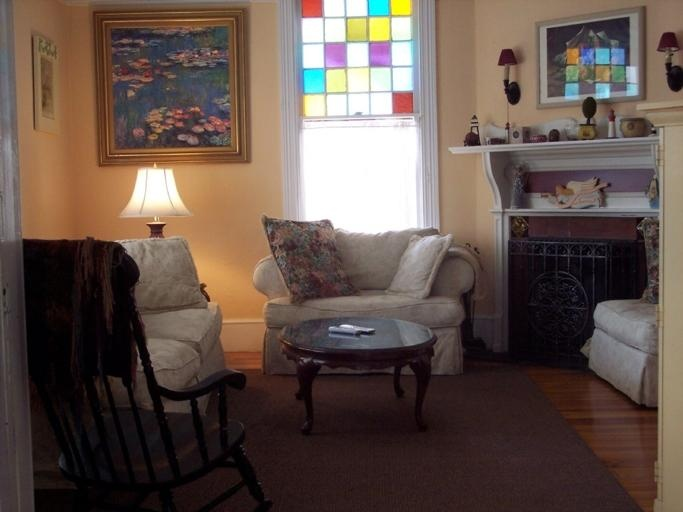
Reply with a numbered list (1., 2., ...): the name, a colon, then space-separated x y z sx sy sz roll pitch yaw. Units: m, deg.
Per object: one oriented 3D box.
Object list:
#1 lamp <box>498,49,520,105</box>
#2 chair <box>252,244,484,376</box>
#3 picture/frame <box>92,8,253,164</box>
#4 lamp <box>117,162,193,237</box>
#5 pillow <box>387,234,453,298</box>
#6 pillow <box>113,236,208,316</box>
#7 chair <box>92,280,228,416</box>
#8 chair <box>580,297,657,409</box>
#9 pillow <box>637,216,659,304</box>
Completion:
1. lamp: 1.434 -1.522 4.858 0.185 0.466 0.217 2 8 21
2. chair: 0.391 0.421 4.805 1.500 1.020 0.981 0 -2 2
3. picture/frame: -1.524 -1.588 5.127 1.169 1.377 0.068 -1 2 0
4. lamp: -1.591 -0.487 4.945 0.553 0.692 0.567 -4 6 -30
5. pillow: 0.628 0.050 4.515 0.140 0.513 0.480 23 -3 -23
6. pillow: -1.249 0.139 4.095 0.558 0.627 0.228 -5 -14 -34
7. chair: -1.086 0.559 3.439 0.455 0.603 1.390 -3 9 -3
8. chair: 1.939 0.650 3.906 0.564 0.441 0.609 1 2 1
9. pillow: 2.192 0.035 4.047 0.090 0.581 0.271 1 8 12
